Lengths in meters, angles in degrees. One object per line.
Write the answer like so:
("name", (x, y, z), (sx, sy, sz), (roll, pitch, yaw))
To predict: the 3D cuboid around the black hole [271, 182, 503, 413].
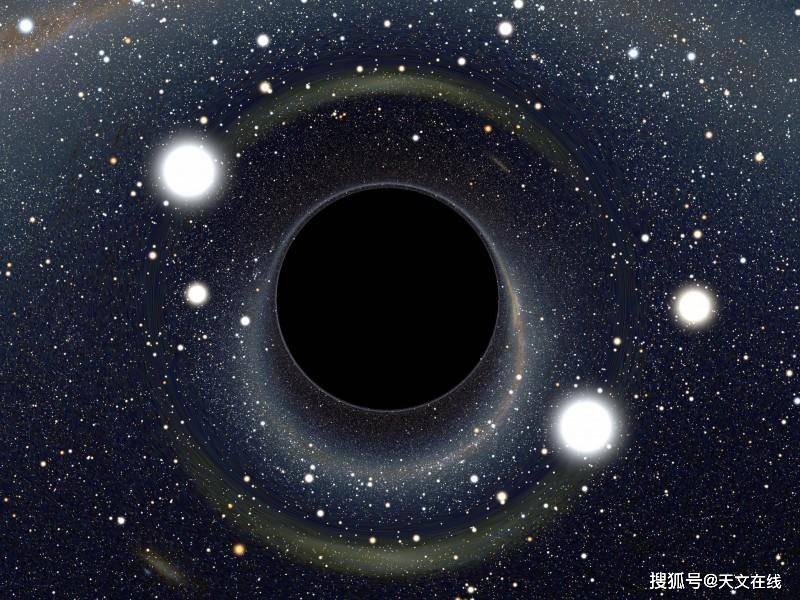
("black hole", (-0.035, -0.008, 2.670), (0.612, 0.197, 0.602), (2, -71, -8))
